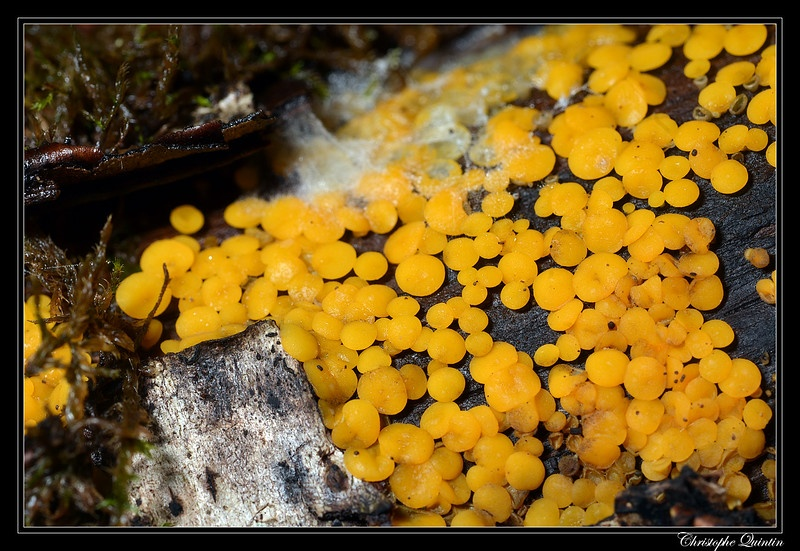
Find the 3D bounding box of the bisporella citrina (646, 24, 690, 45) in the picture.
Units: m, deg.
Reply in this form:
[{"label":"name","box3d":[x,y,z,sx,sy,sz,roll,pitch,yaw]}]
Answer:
[{"label":"bisporella citrina","box3d":[1.835,-1.649,5.403,0.282,0.095,0.129,9,64,16]}]
